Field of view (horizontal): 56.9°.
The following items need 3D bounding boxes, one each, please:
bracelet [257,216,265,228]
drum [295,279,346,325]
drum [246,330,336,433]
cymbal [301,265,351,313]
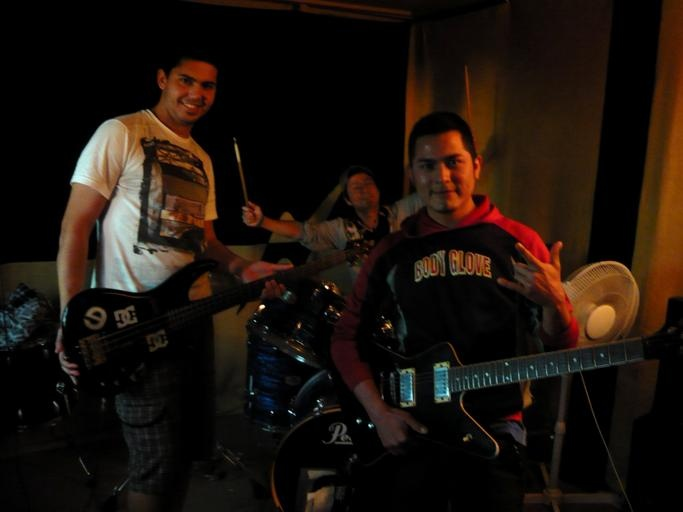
[{"bbox_3d":[-0.404,-0.173,3.220,0.011,0.047,0.046,20,5,-13],"label":"bracelet"},{"bbox_3d":[-0.101,0.223,3.230,0.235,0.177,0.089,15,-23,-14],"label":"drum"},{"bbox_3d":[-0.267,0.633,3.439,0.467,0.515,0.481,17,8,9],"label":"drum"},{"bbox_3d":[-0.066,0.171,3.276,0.182,0.241,0.071,42,3,33],"label":"cymbal"}]
